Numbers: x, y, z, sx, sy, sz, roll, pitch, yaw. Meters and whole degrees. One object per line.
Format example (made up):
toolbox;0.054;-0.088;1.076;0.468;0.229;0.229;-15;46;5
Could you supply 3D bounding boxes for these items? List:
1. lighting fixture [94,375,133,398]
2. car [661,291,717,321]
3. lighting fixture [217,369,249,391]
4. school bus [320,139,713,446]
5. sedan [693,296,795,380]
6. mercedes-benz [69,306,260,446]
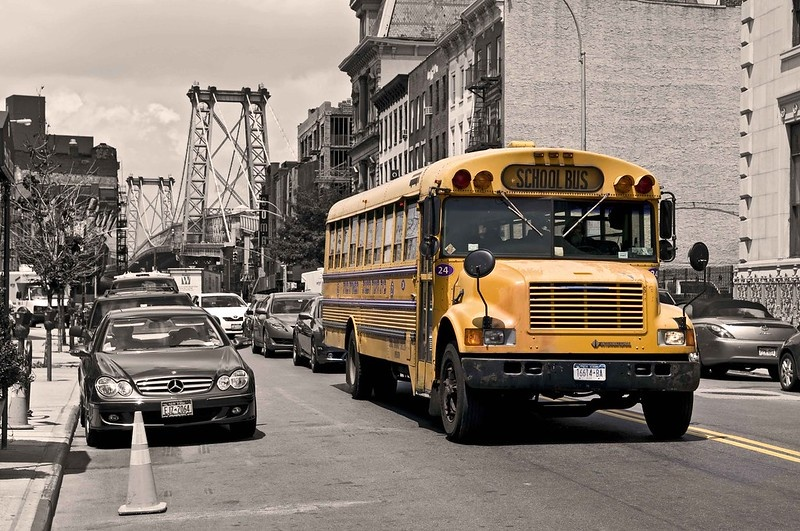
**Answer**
lighting fixture;-4.085;1.752;12.801;0.570;0.288;0.149;-1;-1;15
car;6.906;0.972;21.356;0.918;0.661;1.417;0;2;-12
lighting fixture;-2.449;1.678;13.179;0.190;0.284;0.500;-1;-2;38
school bus;1.318;0.416;17.051;3.929;4.095;10.519;0;-2;-15
sedan;8.487;1.768;23.397;1.940;1.640;4.725;0;0;-4
mercedes-benz;-4.168;1.660;15.315;2.634;1.912;5.327;-1;1;-18
